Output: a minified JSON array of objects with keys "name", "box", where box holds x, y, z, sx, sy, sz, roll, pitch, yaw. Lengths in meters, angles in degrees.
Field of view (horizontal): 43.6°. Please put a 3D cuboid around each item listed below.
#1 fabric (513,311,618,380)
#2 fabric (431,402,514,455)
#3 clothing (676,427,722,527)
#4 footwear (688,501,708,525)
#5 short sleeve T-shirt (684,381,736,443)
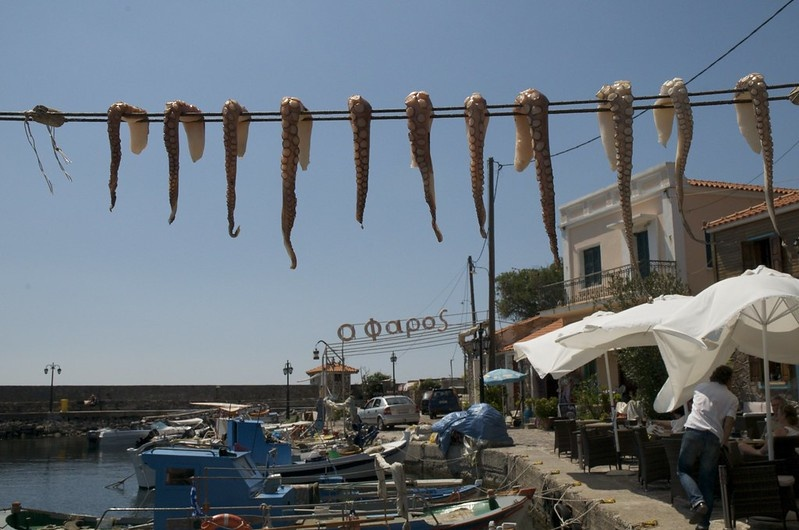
[{"name":"fabric","box":[4.882,2.648,28.932,2.039,1.162,2.146,-8,1,-18]},{"name":"fabric","box":[2.880,5.330,35.918,2.112,1.513,3.323,-3,2,-9]},{"name":"clothing","box":[7.301,5.077,23.921,1.061,2.348,1.078,-11,-15,31]},{"name":"footwear","box":[7.034,5.823,23.554,0.280,0.299,0.688,3,-45,5]},{"name":"short sleeve T-shirt","box":[7.517,3.280,24.290,1.319,1.705,1.124,14,-6,23]}]
